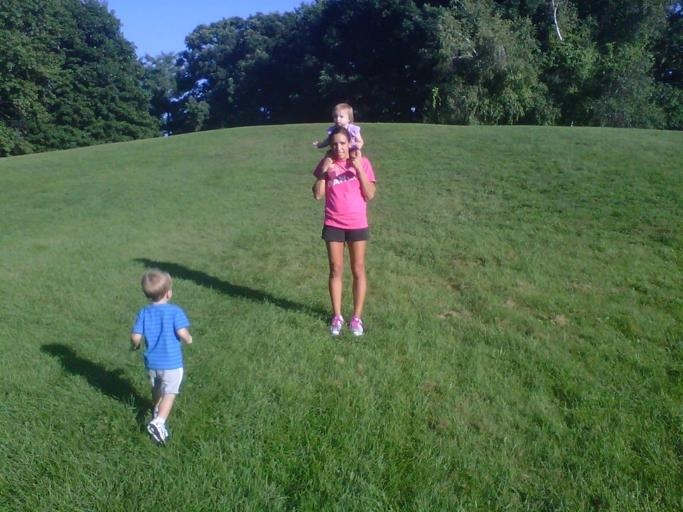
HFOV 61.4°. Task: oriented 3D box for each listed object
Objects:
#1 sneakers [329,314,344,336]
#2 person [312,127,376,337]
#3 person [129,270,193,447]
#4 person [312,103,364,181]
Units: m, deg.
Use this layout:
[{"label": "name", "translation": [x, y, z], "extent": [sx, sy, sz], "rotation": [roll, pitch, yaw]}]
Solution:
[{"label": "sneakers", "translation": [-0.059, 0.984, 8.180], "extent": [0.145, 0.099, 0.260], "rotation": [1, 32, 10]}, {"label": "person", "translation": [0.049, -0.347, 8.104], "extent": [0.801, 2.721, 1.009], "rotation": [1, 20, 10]}, {"label": "person", "translation": [-2.037, 1.084, 6.419], "extent": [0.698, 1.660, 0.737], "rotation": [-20, 27, -40]}, {"label": "person", "translation": [-0.018, -1.641, 8.633], "extent": [0.652, 1.352, 0.445], "rotation": [10, 27, 19]}]
